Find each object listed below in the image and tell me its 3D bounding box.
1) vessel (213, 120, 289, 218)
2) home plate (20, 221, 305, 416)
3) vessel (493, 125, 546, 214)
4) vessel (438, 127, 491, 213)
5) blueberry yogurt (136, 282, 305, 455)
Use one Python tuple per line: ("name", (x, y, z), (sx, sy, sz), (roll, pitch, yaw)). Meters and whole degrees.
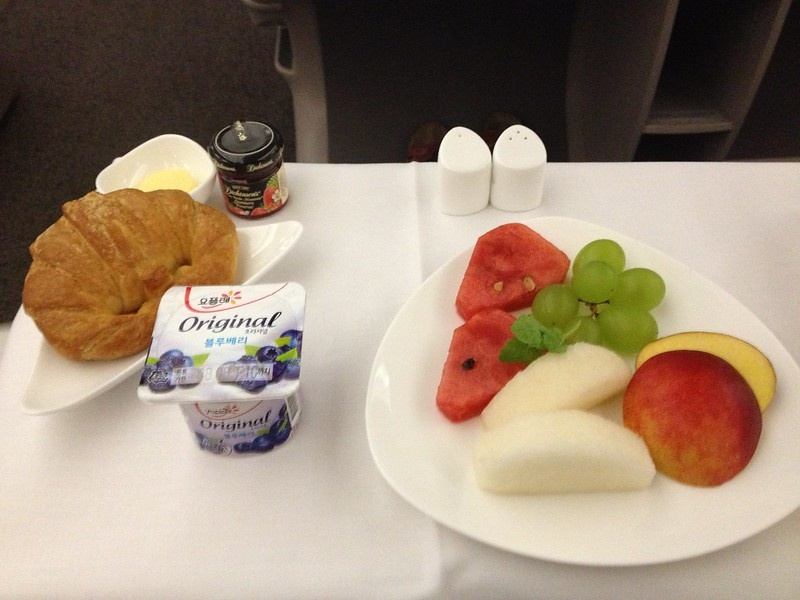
("vessel", (-0.240, -0.225, 1.182), (0.155, 0.160, 0.156), (-6, 55, -5))
("home plate", (-0.381, 0.028, 1.052), (0.207, 0.065, 0.441), (19, 57, 16))
("vessel", (0.200, -0.224, 1.199), (0.120, 0.136, 0.140), (-1, 54, 8))
("vessel", (0.096, -0.248, 1.213), (0.105, 0.137, 0.142), (1, 51, 2))
("blueberry yogurt", (-0.227, 0.107, 0.892), (0.201, 0.160, 0.211), (-1, 41, -4))
